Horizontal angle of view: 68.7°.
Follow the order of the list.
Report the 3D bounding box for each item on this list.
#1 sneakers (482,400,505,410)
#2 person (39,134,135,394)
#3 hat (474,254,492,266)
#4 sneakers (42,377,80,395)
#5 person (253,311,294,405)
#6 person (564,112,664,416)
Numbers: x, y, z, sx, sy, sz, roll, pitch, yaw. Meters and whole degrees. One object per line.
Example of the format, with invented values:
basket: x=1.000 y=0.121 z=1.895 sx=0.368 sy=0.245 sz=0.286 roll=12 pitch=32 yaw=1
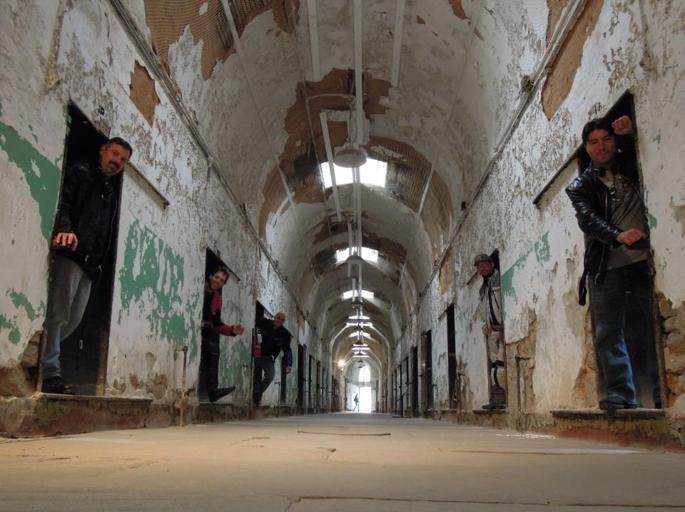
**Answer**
sneakers: x=2.452 y=2.410 z=8.086 sx=0.206 sy=0.152 sz=0.225 roll=3 pitch=-11 yaw=-9
person: x=-2.530 y=-0.040 z=4.976 sx=0.595 sy=2.676 sz=1.172 roll=7 pitch=-17 yaw=-25
hat: x=2.225 y=0.038 z=8.071 sx=0.258 sy=0.176 sz=0.200 roll=-7 pitch=-19 yaw=20
sneakers: x=-2.713 y=1.238 z=4.791 sx=0.192 sy=0.161 sz=0.422 roll=3 pitch=-19 yaw=-10
person: x=-1.596 y=2.360 z=11.426 sx=0.793 sy=2.028 sz=0.796 roll=2 pitch=-16 yaw=-7
person: x=2.487 y=0.044 z=4.648 sx=0.636 sy=2.641 sz=1.278 roll=-7 pitch=-17 yaw=25
